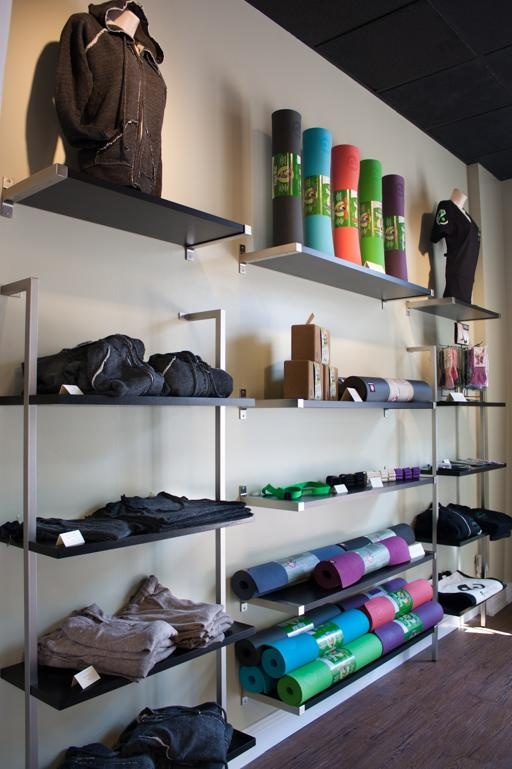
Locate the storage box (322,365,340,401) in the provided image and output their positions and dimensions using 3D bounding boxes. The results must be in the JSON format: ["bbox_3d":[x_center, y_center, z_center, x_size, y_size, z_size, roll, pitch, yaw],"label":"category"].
[{"bbox_3d":[0.306,0.000,2.499,0.043,0.127,0.140,-2,-4,18],"label":"storage box"}]

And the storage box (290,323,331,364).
[{"bbox_3d":[0.217,-0.161,2.483,0.129,0.182,0.246,2,0,29],"label":"storage box"}]

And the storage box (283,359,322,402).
[{"bbox_3d":[0.189,-0.016,2.432,0.121,0.206,0.232,2,-1,30],"label":"storage box"}]

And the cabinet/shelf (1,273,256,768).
[{"bbox_3d":[-0.322,0.410,1.670,0.370,1.391,0.853,-4,-7,29],"label":"cabinet/shelf"}]
